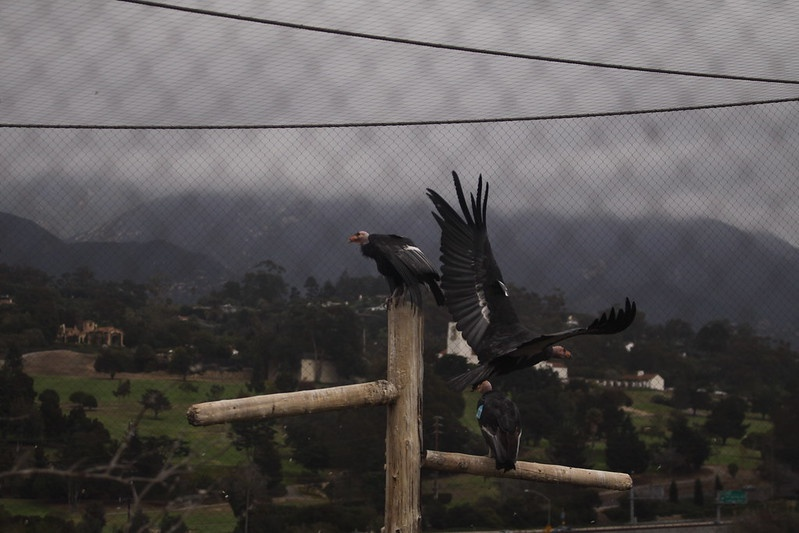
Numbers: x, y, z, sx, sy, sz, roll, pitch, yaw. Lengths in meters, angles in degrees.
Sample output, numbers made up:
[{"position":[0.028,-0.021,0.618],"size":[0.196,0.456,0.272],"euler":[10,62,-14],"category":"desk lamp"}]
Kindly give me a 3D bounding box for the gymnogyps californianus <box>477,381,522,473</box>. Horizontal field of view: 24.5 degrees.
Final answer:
[{"position":[1.193,1.937,22.351],"size":[0.490,1.071,0.481],"euler":[2,-4,-4],"category":"gymnogyps californianus"}]

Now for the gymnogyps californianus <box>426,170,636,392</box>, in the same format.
[{"position":[1.062,0.191,23.180],"size":[1.386,2.635,0.969],"euler":[-2,-6,39],"category":"gymnogyps californianus"}]

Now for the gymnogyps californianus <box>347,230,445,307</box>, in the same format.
[{"position":[-0.026,-0.036,22.684],"size":[1.229,0.727,0.730],"euler":[3,-13,-9],"category":"gymnogyps californianus"}]
